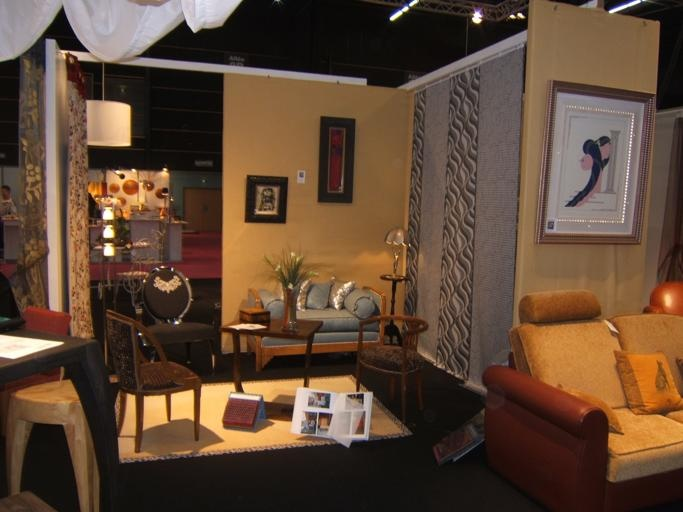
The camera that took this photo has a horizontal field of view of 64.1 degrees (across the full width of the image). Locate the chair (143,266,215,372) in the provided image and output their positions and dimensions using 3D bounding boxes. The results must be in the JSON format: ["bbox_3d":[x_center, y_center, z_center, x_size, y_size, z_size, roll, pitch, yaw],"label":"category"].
[{"bbox_3d":[-1.879,0.724,6.077,0.688,1.221,0.751,0,5,29],"label":"chair"}]

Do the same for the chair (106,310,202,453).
[{"bbox_3d":[-1.686,1.039,4.832,0.652,1.221,0.683,11,12,44],"label":"chair"}]

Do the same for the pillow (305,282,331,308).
[{"bbox_3d":[-0.306,0.520,7.053,0.271,0.310,0.088,5,-18,-1],"label":"pillow"}]

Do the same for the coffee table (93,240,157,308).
[{"bbox_3d":[-3.628,0.323,9.365,0.628,0.833,0.590,-9,-30,43],"label":"coffee table"}]

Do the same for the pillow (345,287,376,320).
[{"bbox_3d":[0.238,0.486,6.774,0.269,0.287,0.497,-4,9,-9],"label":"pillow"}]

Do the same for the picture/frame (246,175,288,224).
[{"bbox_3d":[-0.990,-0.746,6.973,0.549,0.692,0.053,0,6,-22],"label":"picture/frame"}]

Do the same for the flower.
[{"bbox_3d":[-0.499,0.338,5.551,0.423,0.733,0.449,4,2,0],"label":"flower"}]

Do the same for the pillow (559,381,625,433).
[{"bbox_3d":[1.917,1.134,4.049,0.323,0.107,0.329,16,10,-31],"label":"pillow"}]

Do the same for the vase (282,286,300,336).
[{"bbox_3d":[-0.517,0.519,5.520,0.138,0.457,0.230,0,11,-7],"label":"vase"}]

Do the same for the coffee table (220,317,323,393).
[{"bbox_3d":[-0.810,1.089,5.824,0.812,0.817,0.686,2,10,4],"label":"coffee table"}]

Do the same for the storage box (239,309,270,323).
[{"bbox_3d":[-0.920,0.637,5.779,0.151,0.085,0.215,0,2,-30],"label":"storage box"}]

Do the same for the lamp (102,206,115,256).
[{"bbox_3d":[-2.634,-0.272,6.131,0.134,0.586,0.340,-4,12,-23],"label":"lamp"}]

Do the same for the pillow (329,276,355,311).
[{"bbox_3d":[-0.025,0.481,6.986,0.093,0.320,0.310,24,-10,-25],"label":"pillow"}]

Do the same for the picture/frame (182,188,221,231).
[{"bbox_3d":[-3.756,-1.248,14.728,0.998,1.267,0.087,0,-18,-14],"label":"picture/frame"}]

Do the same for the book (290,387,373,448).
[{"bbox_3d":[-0.092,1.419,4.851,0.641,0.489,0.238,2,-23,1],"label":"book"}]

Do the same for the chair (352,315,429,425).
[{"bbox_3d":[0.490,1.067,5.929,0.827,1.311,0.966,0,2,-43],"label":"chair"}]

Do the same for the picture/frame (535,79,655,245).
[{"bbox_3d":[2.376,-0.945,5.194,1.424,1.861,0.120,0,5,-26],"label":"picture/frame"}]

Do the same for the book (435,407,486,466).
[{"bbox_3d":[1.030,1.592,4.743,0.060,0.528,0.298,41,21,-17],"label":"book"}]
